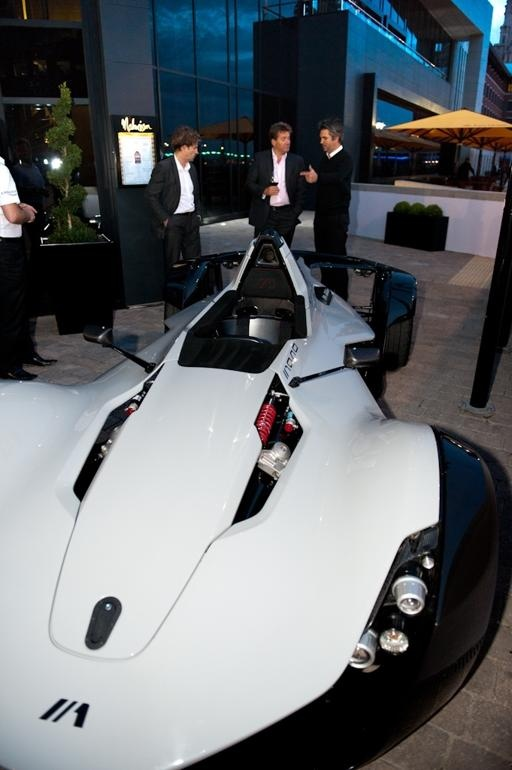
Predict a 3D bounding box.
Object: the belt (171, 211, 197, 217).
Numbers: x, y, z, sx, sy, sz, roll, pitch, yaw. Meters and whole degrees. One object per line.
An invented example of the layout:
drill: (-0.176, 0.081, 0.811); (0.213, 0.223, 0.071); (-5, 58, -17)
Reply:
belt: (-0.800, -1.915, 5.963); (0.046, 0.070, 0.350); (21, 34, 37)

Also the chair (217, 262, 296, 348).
chair: (0.030, -0.395, 2.607); (0.303, 0.501, 0.148); (9, -2, 15)

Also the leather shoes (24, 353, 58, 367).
leather shoes: (-1.889, -0.219, 4.704); (0.291, 0.128, 0.089); (-6, 25, -20)

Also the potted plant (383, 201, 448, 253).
potted plant: (3.414, -3.315, 11.261); (0.408, 0.744, 1.228); (-5, 19, -30)
